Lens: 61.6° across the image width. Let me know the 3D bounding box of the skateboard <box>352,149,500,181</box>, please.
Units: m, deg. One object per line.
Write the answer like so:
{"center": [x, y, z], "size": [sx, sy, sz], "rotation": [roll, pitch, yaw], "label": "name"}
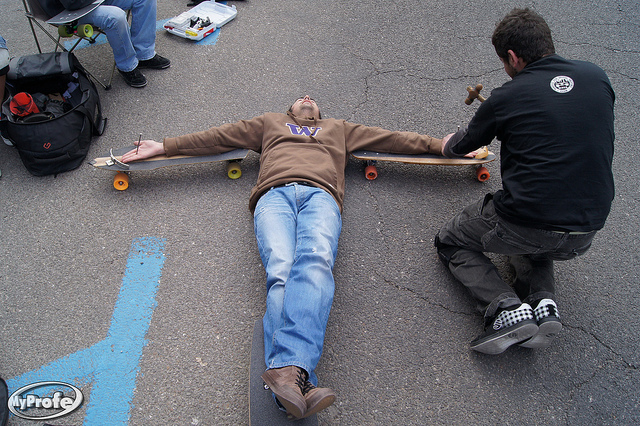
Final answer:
{"center": [0.934, -0.480, 4.884], "size": [1.256, 0.179, 0.451], "rotation": [2, 46, 1], "label": "skateboard"}
